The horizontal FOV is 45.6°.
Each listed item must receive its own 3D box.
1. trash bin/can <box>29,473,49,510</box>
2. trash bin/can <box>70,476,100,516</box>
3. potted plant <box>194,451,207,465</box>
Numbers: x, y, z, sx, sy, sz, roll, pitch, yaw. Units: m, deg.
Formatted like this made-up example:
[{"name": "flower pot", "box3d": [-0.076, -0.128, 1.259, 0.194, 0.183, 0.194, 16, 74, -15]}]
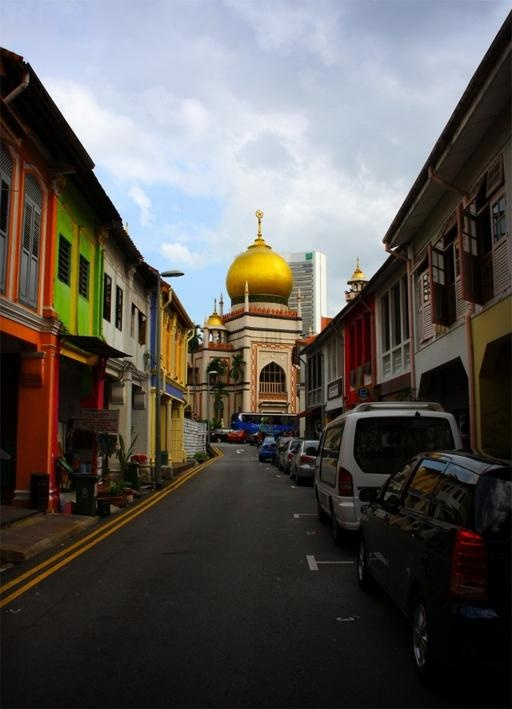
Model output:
[{"name": "trash bin/can", "box3d": [-4.256, 2.684, 11.849, 0.388, 0.718, 0.279, 1, -6, -9]}, {"name": "trash bin/can", "box3d": [-3.475, 2.827, 12.316, 0.432, 0.827, 0.662, 2, -7, -18]}, {"name": "potted plant", "box3d": [-3.440, 6.339, 36.881, 0.557, 1.064, 0.645, 2, 6, -36]}]
